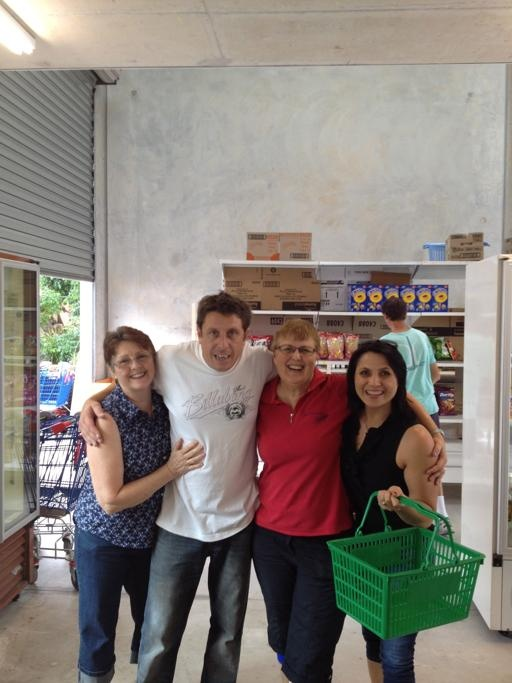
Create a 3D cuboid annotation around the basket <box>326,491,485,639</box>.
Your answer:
[{"bbox_3d":[0.441,0.725,1.881,0.431,0.518,0.540,-2,3,6],"label":"basket"}]

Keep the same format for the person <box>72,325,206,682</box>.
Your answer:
[{"bbox_3d":[-0.464,0.606,2.247,0.351,1.313,0.497,-5,4,-42],"label":"person"}]
